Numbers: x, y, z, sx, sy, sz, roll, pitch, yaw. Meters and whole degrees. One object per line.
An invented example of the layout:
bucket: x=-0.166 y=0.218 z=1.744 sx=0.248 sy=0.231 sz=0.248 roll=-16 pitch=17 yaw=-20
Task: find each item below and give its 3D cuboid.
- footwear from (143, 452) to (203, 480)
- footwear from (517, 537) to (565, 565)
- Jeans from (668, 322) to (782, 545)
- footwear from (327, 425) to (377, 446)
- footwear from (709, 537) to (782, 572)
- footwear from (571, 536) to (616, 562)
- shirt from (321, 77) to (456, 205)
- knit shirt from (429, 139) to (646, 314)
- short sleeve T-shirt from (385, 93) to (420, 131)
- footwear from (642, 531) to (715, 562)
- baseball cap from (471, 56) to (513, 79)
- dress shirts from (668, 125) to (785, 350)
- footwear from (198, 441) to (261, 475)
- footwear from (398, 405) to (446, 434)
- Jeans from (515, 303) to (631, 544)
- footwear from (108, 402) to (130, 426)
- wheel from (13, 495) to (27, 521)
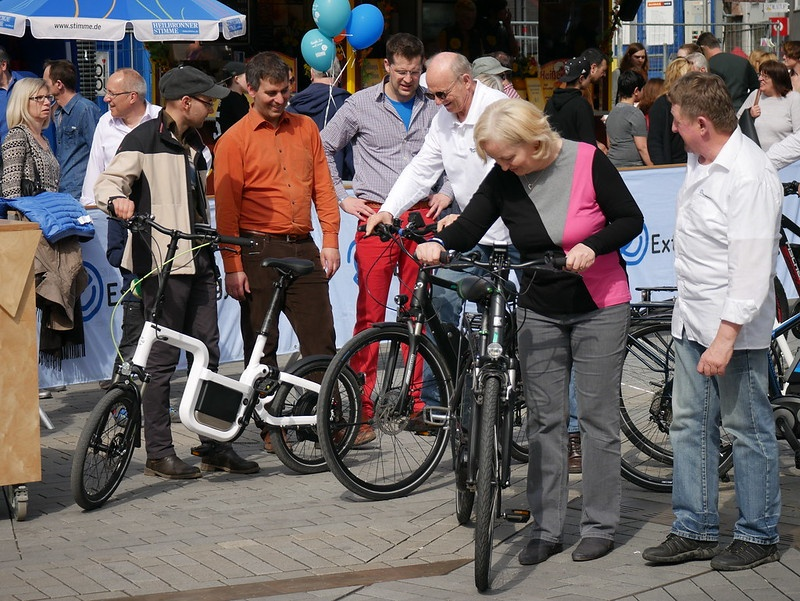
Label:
footwear: x=-1.516 y=1.125 z=7.105 sx=0.345 sy=0.152 sz=0.156 roll=1 pitch=1 yaw=15
footwear: x=0.742 y=1.367 z=5.721 sx=0.270 sy=0.112 sz=0.097 roll=-4 pitch=-3 yaw=-32
Jeans: x=1.687 y=0.681 z=5.670 sx=0.513 sy=1.305 sz=0.337 roll=-1 pitch=-10 yaw=44
footwear: x=-0.321 y=0.898 z=6.859 sx=0.116 sy=0.150 sz=0.348 roll=-28 pitch=2 yaw=-36
footwear: x=1.800 y=1.336 z=5.610 sx=0.400 sy=0.178 sz=0.142 roll=-2 pitch=7 yaw=-9
footwear: x=1.042 y=1.355 z=5.728 sx=0.245 sy=0.099 sz=0.090 roll=-3 pitch=-2 yaw=-39
shirt: x=-0.058 y=-1.145 z=7.653 sx=1.254 sy=1.008 sz=0.534 roll=2 pitch=6 yaw=-8
knit shirt: x=0.819 y=-0.395 z=5.736 sx=1.029 sy=0.919 sz=0.751 roll=-1 pitch=14 yaw=28
short sleeve T-shirt: x=0.026 y=-1.404 z=7.802 sx=0.189 sy=0.256 sz=0.094 roll=-3 pitch=-3 yaw=-9
footwear: x=1.493 y=1.320 z=5.725 sx=0.434 sy=0.194 sz=0.152 roll=-1 pitch=5 yaw=-8
baseball cap: x=0.735 y=-1.927 z=8.605 sx=0.299 sy=0.127 sz=0.212 roll=3 pitch=7 yaw=16
dress shirts: x=1.698 y=-0.318 z=5.445 sx=0.361 sy=1.111 sz=0.543 roll=-6 pitch=12 yaw=-20
footwear: x=-1.150 y=1.065 z=7.186 sx=0.456 sy=0.205 sz=0.190 roll=1 pitch=9 yaw=4
footwear: x=0.162 y=0.757 z=6.569 sx=0.136 sy=0.165 sz=0.388 roll=10 pitch=-6 yaw=-40
Jeans: x=0.937 y=0.596 z=5.820 sx=0.573 sy=1.610 sz=0.402 roll=1 pitch=1 yaw=16
footwear: x=-1.747 y=0.720 z=6.637 sx=0.129 sy=0.112 sz=0.149 roll=-24 pitch=-28 yaw=-22
wheel: x=-2.260 y=1.250 z=6.320 sx=0.065 sy=0.188 sz=0.157 roll=-2 pitch=7 yaw=-26
